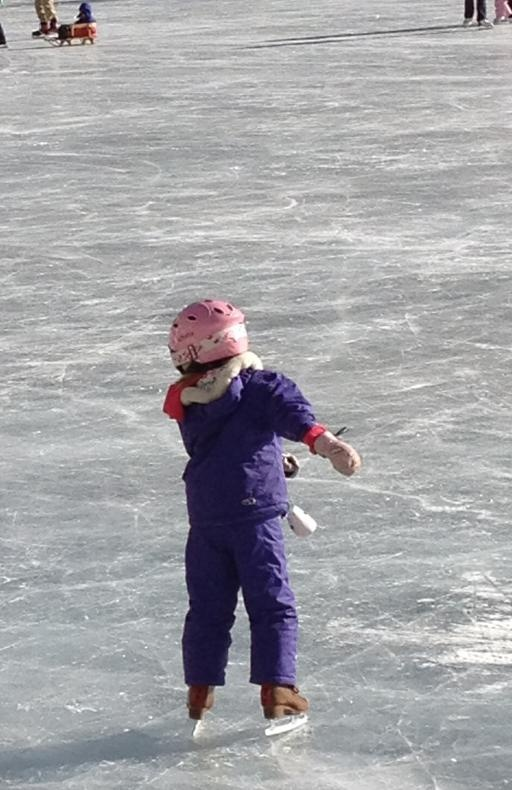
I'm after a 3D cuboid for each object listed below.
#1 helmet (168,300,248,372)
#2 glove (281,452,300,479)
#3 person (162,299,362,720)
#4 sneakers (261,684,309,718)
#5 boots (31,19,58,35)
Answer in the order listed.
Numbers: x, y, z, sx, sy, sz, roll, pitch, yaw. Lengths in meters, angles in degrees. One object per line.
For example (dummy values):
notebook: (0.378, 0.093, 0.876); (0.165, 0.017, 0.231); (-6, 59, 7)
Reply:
helmet: (-0.128, -0.170, 3.656); (0.239, 0.178, 0.169); (-15, -1, 29)
glove: (0.095, 0.198, 3.790); (0.056, 0.065, 0.067); (5, 35, 20)
person: (0.016, 0.307, 3.545); (0.502, 0.995, 0.679); (-5, 26, -2)
sneakers: (0.075, 0.811, 3.472); (0.123, 0.108, 0.085); (-6, 26, -5)
boots: (-3.795, -6.575, 23.592); (0.265, 0.297, 0.753); (-6, 11, -27)
